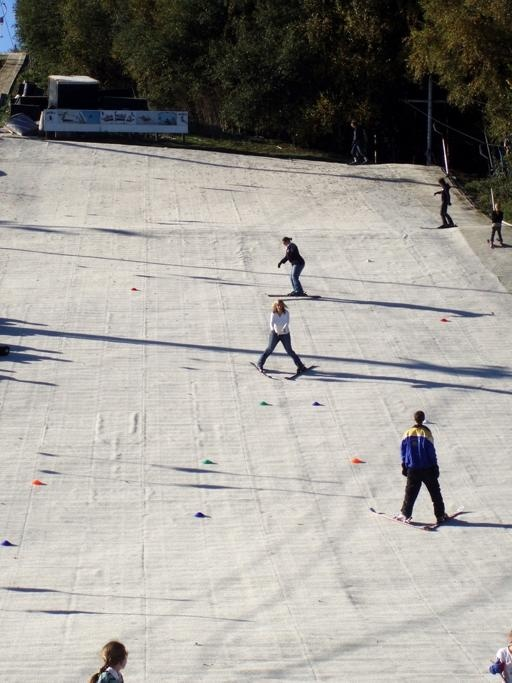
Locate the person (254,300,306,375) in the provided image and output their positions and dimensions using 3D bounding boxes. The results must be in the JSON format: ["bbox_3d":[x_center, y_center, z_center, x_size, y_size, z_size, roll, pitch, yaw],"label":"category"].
[{"bbox_3d":[0.440,-0.066,14.502,0.815,1.333,0.968,3,14,0],"label":"person"}]

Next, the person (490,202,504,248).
[{"bbox_3d":[5.743,-2.776,21.822,0.355,0.944,2.064,6,13,14],"label":"person"}]

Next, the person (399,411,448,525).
[{"bbox_3d":[1.989,1.470,10.737,0.637,1.508,0.792,6,14,12],"label":"person"}]
